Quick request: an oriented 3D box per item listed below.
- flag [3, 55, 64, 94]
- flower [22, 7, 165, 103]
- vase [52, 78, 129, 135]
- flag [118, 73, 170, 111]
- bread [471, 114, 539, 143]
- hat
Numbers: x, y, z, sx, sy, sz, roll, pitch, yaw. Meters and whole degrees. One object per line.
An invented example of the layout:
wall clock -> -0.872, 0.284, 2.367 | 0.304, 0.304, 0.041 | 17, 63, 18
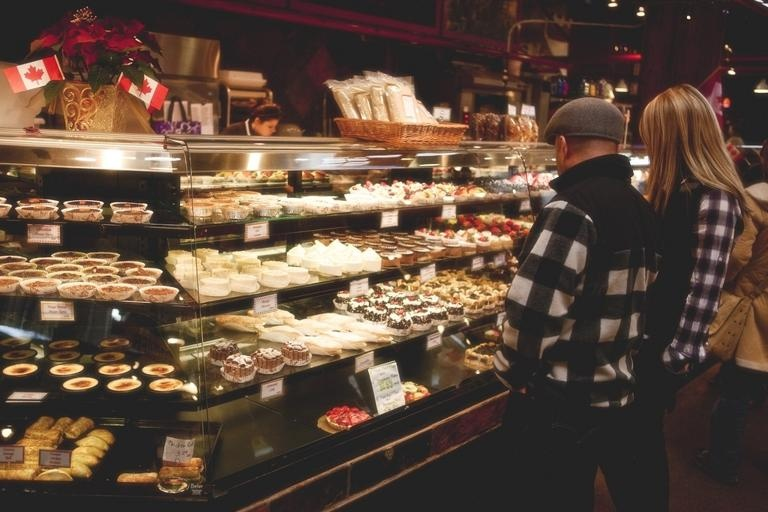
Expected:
flag -> -1.894, -0.998, 3.019 | 0.266, 0.201, 0.152 | -5, 12, -22
flower -> -1.583, -1.136, 3.225 | 0.792, 0.368, 0.688 | -13, 5, -20
vase -> -1.650, -0.840, 3.118 | 0.344, 0.215, 0.352 | -2, 13, -20
flag -> -1.421, -0.948, 3.189 | 0.468, 0.216, 0.005 | 11, 17, 34
bread -> 1.015, -1.136, 4.967 | 0.413, 0.124, 0.447 | 0, 8, -15
hat -> 1.077, -0.741, 2.976 | 0.334, 0.165, 0.438 | -17, 21, -42
